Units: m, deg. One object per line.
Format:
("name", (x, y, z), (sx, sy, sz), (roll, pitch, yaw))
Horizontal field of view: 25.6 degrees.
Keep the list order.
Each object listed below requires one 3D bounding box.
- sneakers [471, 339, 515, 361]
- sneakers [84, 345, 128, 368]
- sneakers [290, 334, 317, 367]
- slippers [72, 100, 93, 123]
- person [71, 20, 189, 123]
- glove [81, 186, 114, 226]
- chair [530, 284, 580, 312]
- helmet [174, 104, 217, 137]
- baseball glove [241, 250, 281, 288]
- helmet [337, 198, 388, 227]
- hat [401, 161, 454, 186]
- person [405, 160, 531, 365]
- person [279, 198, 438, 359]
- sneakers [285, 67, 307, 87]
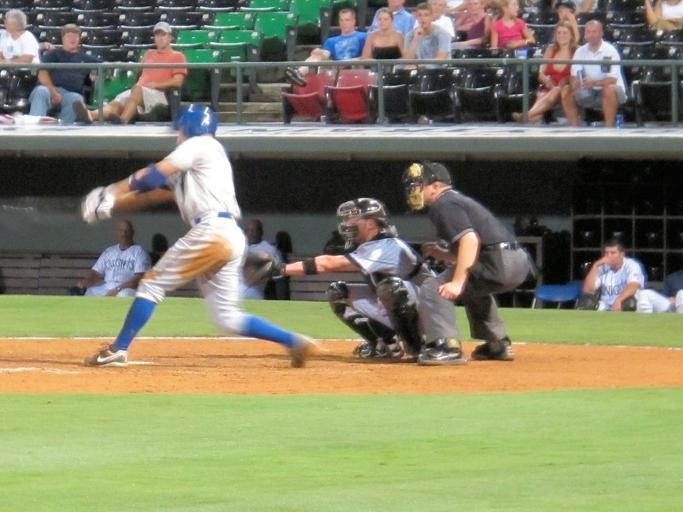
("sneakers", (1.341, 0.831, 13.045), (0.422, 0.150, 0.149), (1, -3, 33))
("sneakers", (-1.929, 0.841, 12.488), (0.413, 0.141, 0.135), (2, 2, -3))
("sneakers", (-0.295, 0.808, 12.520), (0.278, 0.239, 0.300), (2, 0, 11))
("slippers", (-3.178, -1.767, 18.472), (0.190, 0.271, 0.288), (-6, 18, 5))
("person", (-2.570, -2.183, 18.294), (0.792, 0.940, 1.554), (11, 27, 33))
("glove", (-1.902, -0.390, 12.113), (0.286, 0.283, 0.126), (9, -24, 33))
("chair", (2.645, 0.438, 18.085), (0.390, 0.382, 0.579), (-2, 17, 12))
("helmet", (-1.179, -1.104, 12.331), (0.425, 0.276, 0.296), (1, 6, -6))
("baseball glove", (-0.687, 0.097, 12.705), (0.476, 0.282, 0.227), (-3, 27, 5))
("helmet", (0.181, -0.378, 12.901), (0.377, 0.157, 0.239), (3, -2, 6))
("hat", (0.741, -0.697, 12.679), (0.332, 0.136, 0.209), (3, -1, -3))
("person", (1.066, 0.107, 12.680), (1.105, 1.746, 0.869), (4, 15, 9))
("person", (0.135, 0.208, 13.097), (1.750, 1.315, 1.088), (0, -6, 5))
("sneakers", (-0.532, -2.154, 18.030), (0.138, 0.129, 0.282), (-15, -46, 40))
